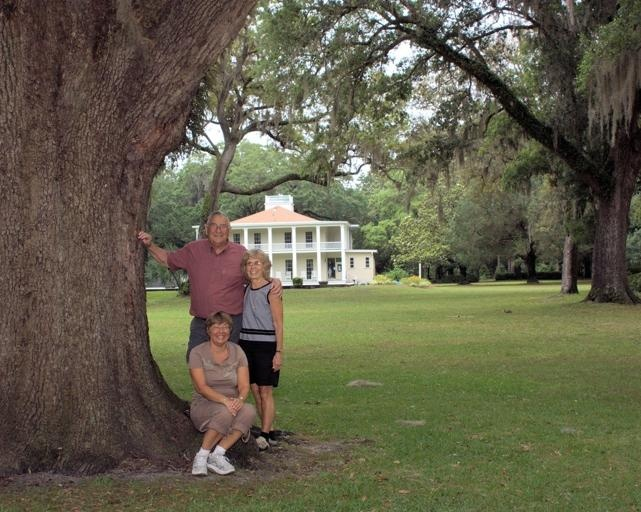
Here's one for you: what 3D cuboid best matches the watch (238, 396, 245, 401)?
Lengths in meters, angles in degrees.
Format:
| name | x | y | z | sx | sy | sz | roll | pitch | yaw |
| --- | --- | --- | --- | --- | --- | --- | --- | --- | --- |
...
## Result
| name | x | y | z | sx | sy | sz | roll | pitch | yaw |
| --- | --- | --- | --- | --- | --- | --- | --- | --- | --- |
| watch | -0.819 | 1.479 | 7.170 | 0.041 | 0.047 | 0.043 | 1 | -5 | 3 |

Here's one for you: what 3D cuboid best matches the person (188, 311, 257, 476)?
| name | x | y | z | sx | sy | sz | roll | pitch | yaw |
| --- | --- | --- | --- | --- | --- | --- | --- | --- | --- |
| person | -1.014 | 1.369 | 7.056 | 0.650 | 1.547 | 0.611 | -1 | 2 | -13 |

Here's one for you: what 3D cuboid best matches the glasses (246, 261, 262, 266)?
| name | x | y | z | sx | sy | sz | roll | pitch | yaw |
| --- | --- | --- | --- | --- | --- | --- | --- | --- | --- |
| glasses | -0.728 | 0.072 | 7.555 | 0.158 | 0.065 | 0.047 | -1 | 2 | -7 |

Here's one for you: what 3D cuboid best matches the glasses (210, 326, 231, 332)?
| name | x | y | z | sx | sy | sz | roll | pitch | yaw |
| --- | --- | --- | --- | --- | --- | --- | --- | --- | --- |
| glasses | -1.051 | 0.756 | 7.182 | 0.213 | 0.089 | 0.064 | -1 | 2 | -9 |

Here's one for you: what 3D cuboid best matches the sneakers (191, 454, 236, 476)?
| name | x | y | z | sx | sy | sz | roll | pitch | yaw |
| --- | --- | --- | --- | --- | --- | --- | --- | --- | --- |
| sneakers | -1.054 | 2.051 | 6.832 | 0.428 | 0.229 | 0.184 | 2 | -5 | -6 |
